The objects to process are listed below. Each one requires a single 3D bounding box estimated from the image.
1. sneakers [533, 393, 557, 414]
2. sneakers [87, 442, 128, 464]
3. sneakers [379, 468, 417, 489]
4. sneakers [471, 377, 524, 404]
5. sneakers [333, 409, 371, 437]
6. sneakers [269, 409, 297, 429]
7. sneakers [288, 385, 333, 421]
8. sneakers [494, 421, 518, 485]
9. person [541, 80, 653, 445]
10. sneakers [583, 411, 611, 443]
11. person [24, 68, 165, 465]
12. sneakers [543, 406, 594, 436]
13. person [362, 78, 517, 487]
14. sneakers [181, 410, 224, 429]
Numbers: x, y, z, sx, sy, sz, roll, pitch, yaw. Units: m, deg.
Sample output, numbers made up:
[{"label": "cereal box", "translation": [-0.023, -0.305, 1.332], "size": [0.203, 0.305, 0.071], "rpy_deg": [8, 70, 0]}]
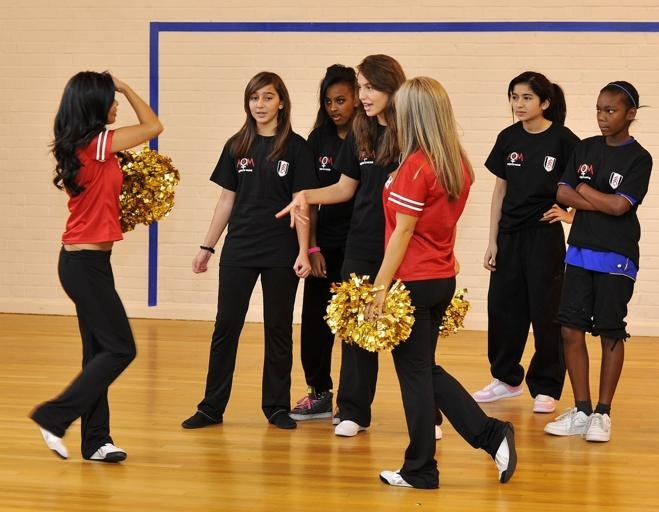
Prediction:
[{"label": "sneakers", "translation": [1.442, 0.998, 4.660], "size": [0.076, 0.085, 0.215], "rpy_deg": [1, 3, 22]}, {"label": "sneakers", "translation": [-1.235, 1.061, 3.728], "size": [0.259, 0.095, 0.092], "rpy_deg": [-3, -8, 25]}, {"label": "sneakers", "translation": [0.332, 1.121, 3.520], "size": [0.186, 0.070, 0.064], "rpy_deg": [15, -4, 16]}, {"label": "sneakers", "translation": [1.176, 0.963, 4.987], "size": [0.511, 0.187, 0.160], "rpy_deg": [-3, -2, -14]}, {"label": "sneakers", "translation": [0.127, 1.045, 4.225], "size": [0.101, 0.099, 0.262], "rpy_deg": [-4, -11, 27]}, {"label": "sneakers", "translation": [-0.293, 1.007, 4.263], "size": [0.095, 0.061, 0.168], "rpy_deg": [1, -3, -32]}, {"label": "sneakers", "translation": [-0.107, 0.981, 4.500], "size": [0.125, 0.153, 0.371], "rpy_deg": [-8, -12, 41]}, {"label": "sneakers", "translation": [0.874, 0.995, 3.530], "size": [0.154, 0.308, 0.118], "rpy_deg": [-3, 19, 3]}, {"label": "person", "translation": [1.604, 0.022, 4.172], "size": [0.516, 2.132, 0.483], "rpy_deg": [4, 9, 21]}, {"label": "sneakers", "translation": [1.612, 1.020, 4.134], "size": [0.187, 0.154, 0.130], "rpy_deg": [1, 8, -2]}, {"label": "person", "translation": [-1.213, 0.081, 3.587], "size": [0.691, 2.062, 0.373], "rpy_deg": [-2, 9, -21]}, {"label": "sneakers", "translation": [1.452, 1.025, 4.275], "size": [0.352, 0.136, 0.116], "rpy_deg": [-2, -1, 3]}, {"label": "person", "translation": [0.542, 0.160, 3.349], "size": [0.702, 2.022, 0.326], "rpy_deg": [0, 8, -4]}, {"label": "sneakers", "translation": [-0.798, 1.015, 4.297], "size": [0.260, 0.089, 0.089], "rpy_deg": [2, -3, -22]}]
